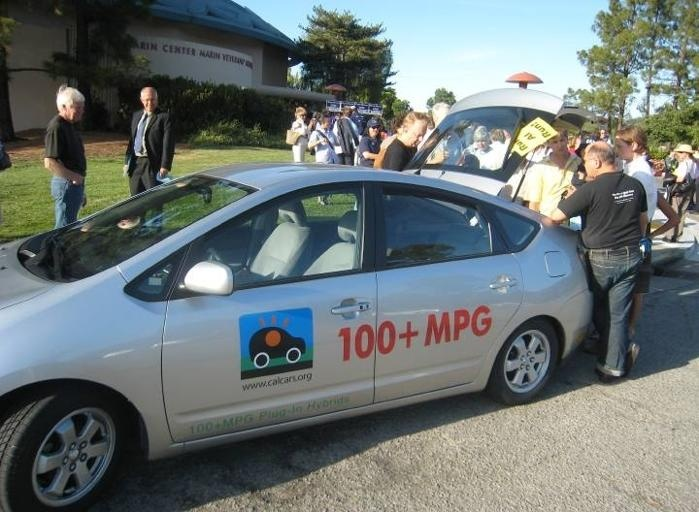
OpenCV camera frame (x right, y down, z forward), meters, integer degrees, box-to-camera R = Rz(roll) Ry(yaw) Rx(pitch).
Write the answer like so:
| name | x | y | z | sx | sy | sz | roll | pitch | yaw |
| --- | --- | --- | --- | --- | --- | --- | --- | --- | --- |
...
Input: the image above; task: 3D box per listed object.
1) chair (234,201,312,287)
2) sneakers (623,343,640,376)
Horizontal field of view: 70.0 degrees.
| name | x | y | z | sx | sy | sz | roll | pitch | yaw |
| --- | --- | --- | --- | --- | --- | --- | --- | --- | --- |
| chair | -0.465 | -0.058 | 3.451 | 0.438 | 0.616 | 0.388 | -5 | 11 | -36 |
| sneakers | 2.711 | 1.000 | 4.811 | 0.098 | 0.336 | 0.127 | 4 | 8 | -21 |
